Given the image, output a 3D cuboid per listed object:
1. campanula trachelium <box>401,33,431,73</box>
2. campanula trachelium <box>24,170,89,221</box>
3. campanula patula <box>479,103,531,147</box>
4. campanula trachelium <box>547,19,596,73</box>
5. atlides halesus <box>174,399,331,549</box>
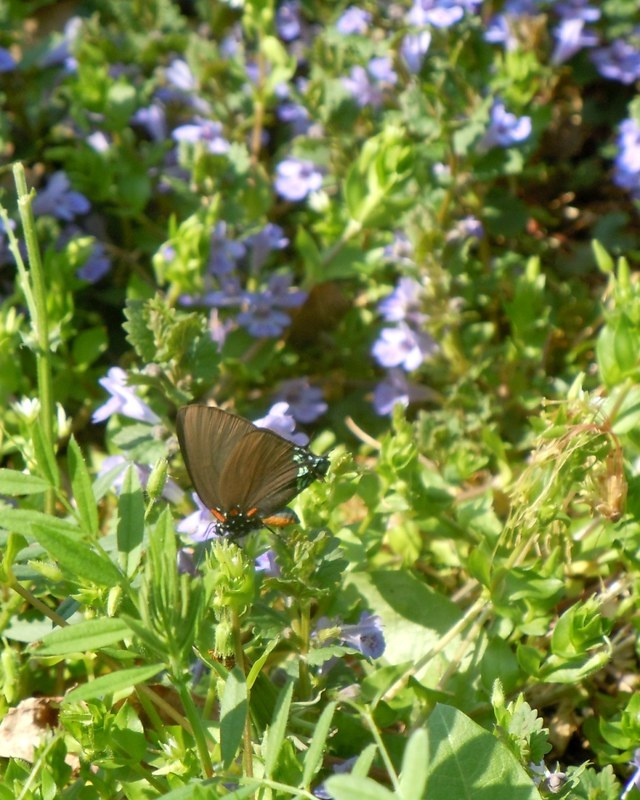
[{"bbox_3d":[0.246,-0.869,2.146,0.041,0.080,0.084,-2,17,-37],"label":"campanula trachelium"},{"bbox_3d":[-0.743,-0.574,2.431,0.118,0.165,0.116,-17,22,-32],"label":"campanula trachelium"},{"bbox_3d":[0.444,-0.643,2.020,0.121,0.100,0.059,15,12,3],"label":"campanula patula"},{"bbox_3d":[0.638,-0.902,2.204,0.118,0.143,0.109,-5,20,7],"label":"campanula trachelium"},{"bbox_3d":[-0.114,0.072,1.162,0.213,0.189,0.220,-3,7,-18],"label":"atlides halesus"}]
